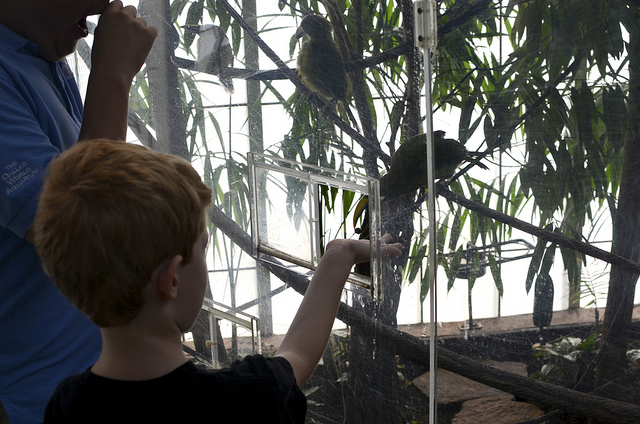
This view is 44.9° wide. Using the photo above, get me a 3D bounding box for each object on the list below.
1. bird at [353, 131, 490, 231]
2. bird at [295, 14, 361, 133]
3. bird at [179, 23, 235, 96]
[{"bbox_3d":[0.232,-0.110,1.791,0.134,0.097,0.347,31,-48,-19],"label":"bird"},{"bbox_3d":[0.019,-0.353,1.935,0.227,0.253,0.110,15,9,23],"label":"bird"},{"bbox_3d":[-0.296,-0.428,2.167,0.155,0.189,0.074,-1,-10,32],"label":"bird"}]
